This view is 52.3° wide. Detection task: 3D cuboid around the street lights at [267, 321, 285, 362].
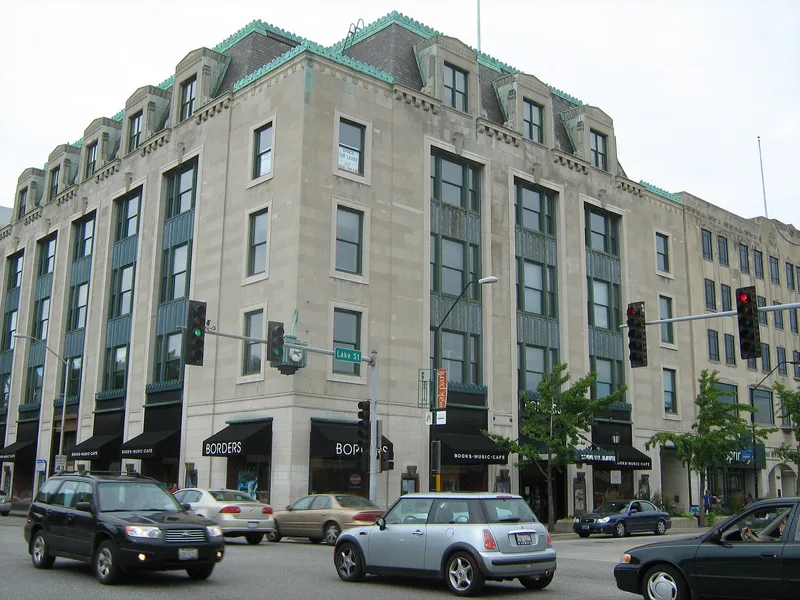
[{"bbox_3d":[-4.345,1.454,28.206,0.554,1.475,0.668,4,-19,-12],"label":"street lights"}]
